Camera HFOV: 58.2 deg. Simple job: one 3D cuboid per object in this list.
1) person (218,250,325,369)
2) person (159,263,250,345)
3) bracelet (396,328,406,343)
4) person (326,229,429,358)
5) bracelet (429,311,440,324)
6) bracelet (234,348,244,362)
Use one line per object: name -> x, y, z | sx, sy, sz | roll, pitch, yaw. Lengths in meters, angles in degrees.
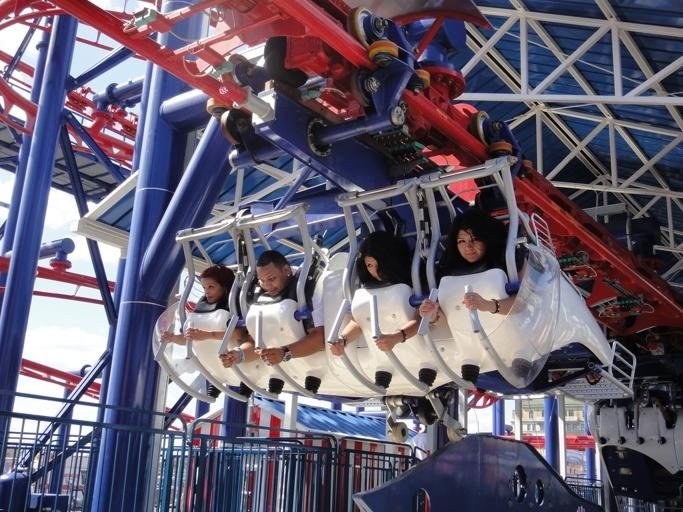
person -> -0.501, 0.414, 5.522 | 0.858, 1.050, 1.207 | -10, 1, 23
person -> -1.276, 0.466, 5.887 | 1.007, 0.760, 0.575 | -8, -14, 43
bracelet -> 0.472, 0.633, 4.962 | 0.040, 0.084, 0.088 | -2, 25, -7
person -> 0.266, 0.247, 5.179 | 0.869, 0.802, 0.706 | -18, 19, -36
bracelet -> 0.764, 0.494, 4.976 | 0.089, 0.057, 0.111 | -1, -19, 29
bracelet -> -0.905, 0.872, 5.430 | 0.093, 0.062, 0.110 | 9, -46, 8
